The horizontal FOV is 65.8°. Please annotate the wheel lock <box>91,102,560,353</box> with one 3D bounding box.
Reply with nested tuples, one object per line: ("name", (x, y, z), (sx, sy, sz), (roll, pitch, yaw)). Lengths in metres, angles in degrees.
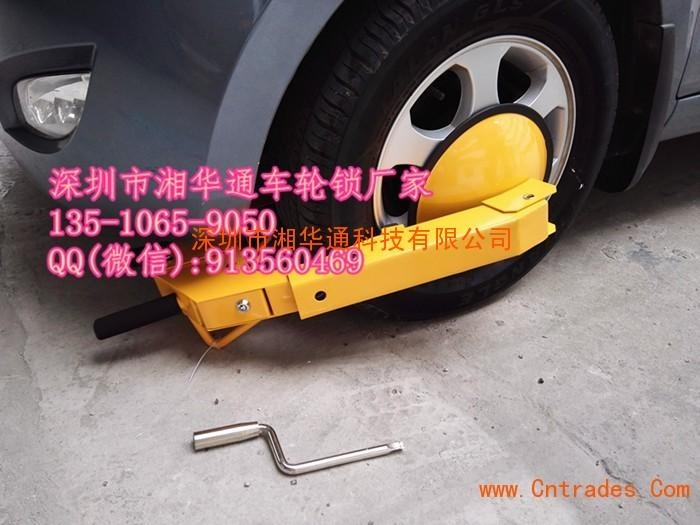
("wheel lock", (-0.053, -0.205, 1.677), (1.156, 0.742, 0.240), (-20, 40, -17))
